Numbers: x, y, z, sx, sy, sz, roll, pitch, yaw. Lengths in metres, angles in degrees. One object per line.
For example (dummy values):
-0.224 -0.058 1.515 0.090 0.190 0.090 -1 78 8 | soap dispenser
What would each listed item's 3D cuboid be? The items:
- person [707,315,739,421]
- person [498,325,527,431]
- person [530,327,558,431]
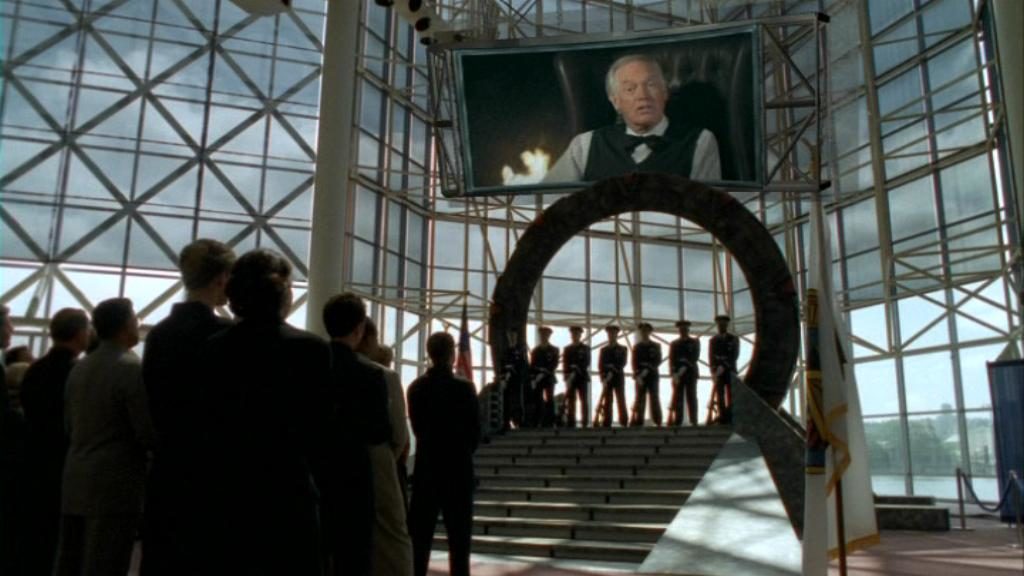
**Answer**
5.179 1.978 23.775 0.706 2.668 1.386 -1 -10 10 | person
0.064 2.236 24.024 0.624 2.389 0.278 1 -10 -2 | person
0.831 2.240 24.477 0.726 2.514 0.587 2 -10 -7 | person
